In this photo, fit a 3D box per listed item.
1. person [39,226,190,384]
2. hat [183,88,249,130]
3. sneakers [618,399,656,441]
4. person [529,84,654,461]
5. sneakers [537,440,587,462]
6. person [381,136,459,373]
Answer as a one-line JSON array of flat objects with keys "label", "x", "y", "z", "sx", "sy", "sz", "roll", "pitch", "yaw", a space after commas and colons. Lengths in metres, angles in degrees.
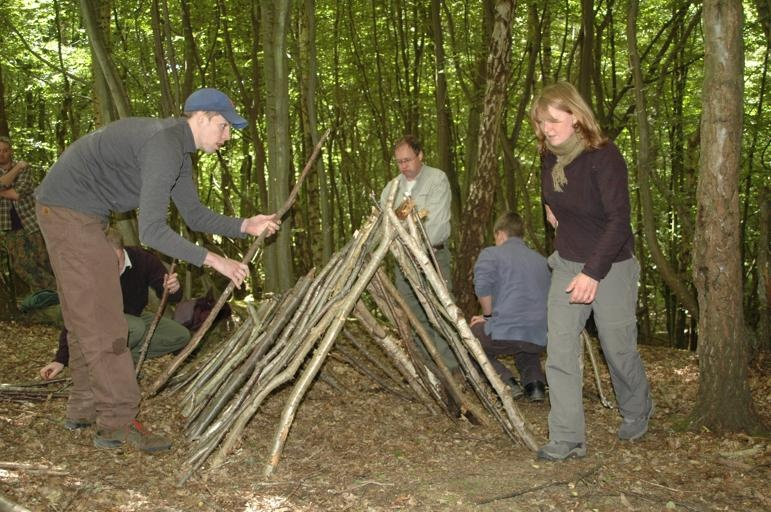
[{"label": "person", "x": -2.850, "y": 0.561, "z": 8.269, "sx": 1.447, "sy": 1.313, "sz": 0.900, "roll": -16, "pitch": 35, "yaw": -38}, {"label": "hat", "x": -1.655, "y": -1.453, "z": 7.694, "sx": 0.585, "sy": 0.292, "sz": 0.371, "roll": 3, "pitch": 12, "yaw": -13}, {"label": "sneakers", "x": 2.600, "y": 1.690, "z": 8.080, "sx": 0.441, "sy": 0.205, "sz": 0.162, "roll": -47, "pitch": 35, "yaw": -18}, {"label": "person", "x": 2.043, "y": 0.115, "z": 7.849, "sx": 1.255, "sy": 3.640, "sz": 1.046, "roll": 3, "pitch": 14, "yaw": 17}, {"label": "sneakers", "x": 1.754, "y": 1.920, "z": 7.756, "sx": 0.474, "sy": 0.232, "sz": 0.187, "roll": 3, "pitch": -5, "yaw": -10}, {"label": "person", "x": 0.433, "y": -0.064, "z": 9.221, "sx": 0.758, "sy": 2.618, "sz": 1.508, "roll": -1, "pitch": 13, "yaw": 1}]
